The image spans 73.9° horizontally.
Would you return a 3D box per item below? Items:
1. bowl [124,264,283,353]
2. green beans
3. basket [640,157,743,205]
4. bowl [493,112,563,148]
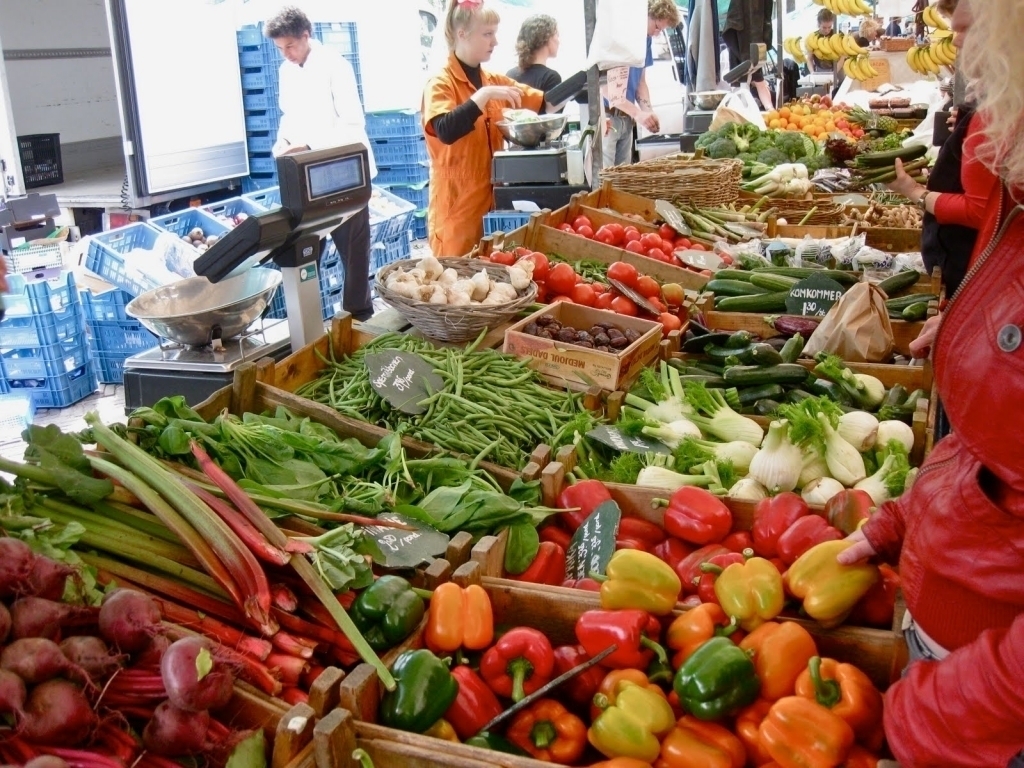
[{"bbox_3d":[-1.783,-0.464,4.023,0.635,0.230,0.676,-5,29,3],"label":"bowl"},{"bbox_3d":[-0.231,0.075,2.838,0.886,0.223,0.615,18,25,10],"label":"green beans"},{"bbox_3d":[1.403,-1.661,5.563,0.594,0.537,0.732,10,25,27],"label":"basket"},{"bbox_3d":[0.174,-2.236,5.987,0.542,0.322,0.490,-2,15,3],"label":"bowl"}]
